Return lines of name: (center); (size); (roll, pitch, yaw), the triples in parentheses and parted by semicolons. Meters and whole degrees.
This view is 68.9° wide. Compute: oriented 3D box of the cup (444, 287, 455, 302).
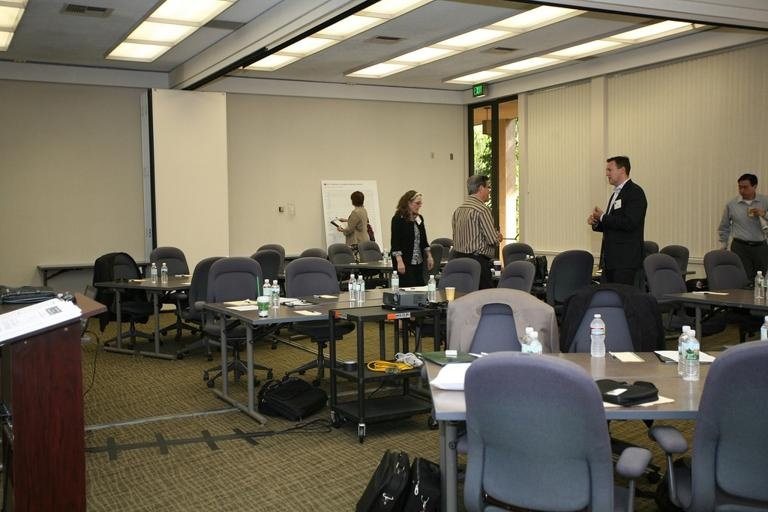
cup: (0.647, 0.389, 5.724); (0.117, 0.108, 0.116); (0, -1, 0)

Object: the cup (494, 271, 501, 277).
cup: (1.466, 0.232, 7.331); (0.076, 0.050, 0.074); (-1, 0, 0)

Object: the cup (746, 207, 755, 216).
cup: (5.077, -0.606, 7.770); (0.082, 0.102, 0.200); (4, 9, 34)

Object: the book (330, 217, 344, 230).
book: (-0.997, -0.684, 11.765); (0.184, 0.283, 0.261); (22, 5, -6)

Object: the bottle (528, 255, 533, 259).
bottle: (2.131, 0.022, 8.210); (0.074, 0.027, 0.043); (-2, 1, 13)

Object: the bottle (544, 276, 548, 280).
bottle: (2.203, 0.296, 7.701); (0.045, 0.070, 0.053); (2, -2, -19)

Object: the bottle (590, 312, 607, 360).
bottle: (1.431, 0.525, 3.760); (0.088, 0.275, 0.199); (2, 8, 22)

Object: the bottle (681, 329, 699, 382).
bottle: (1.852, 0.590, 3.395); (0.100, 0.228, 0.360); (3, 8, 29)
